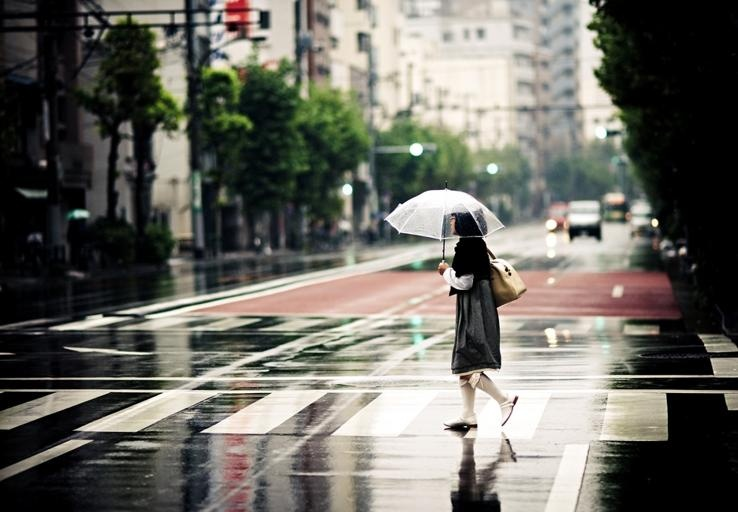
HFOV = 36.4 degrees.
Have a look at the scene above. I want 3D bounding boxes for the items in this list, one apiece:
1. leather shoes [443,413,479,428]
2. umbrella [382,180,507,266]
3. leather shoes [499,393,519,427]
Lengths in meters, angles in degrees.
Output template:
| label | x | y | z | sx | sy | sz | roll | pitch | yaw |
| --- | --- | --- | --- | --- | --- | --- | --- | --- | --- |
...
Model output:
| label | x | y | z | sx | sy | sz | roll | pitch | yaw |
| --- | --- | --- | --- | --- | --- | --- | --- | --- | --- |
| leather shoes | 1.291 | 2.294 | 15.669 | 0.358 | 0.147 | 0.191 | 2 | 0 | 5 |
| umbrella | 1.084 | -0.458 | 16.109 | 1.206 | 0.849 | 1.190 | -1 | 0 | 0 |
| leather shoes | 1.969 | 2.142 | 15.707 | 0.206 | 0.503 | 0.167 | 15 | 3 | -12 |
